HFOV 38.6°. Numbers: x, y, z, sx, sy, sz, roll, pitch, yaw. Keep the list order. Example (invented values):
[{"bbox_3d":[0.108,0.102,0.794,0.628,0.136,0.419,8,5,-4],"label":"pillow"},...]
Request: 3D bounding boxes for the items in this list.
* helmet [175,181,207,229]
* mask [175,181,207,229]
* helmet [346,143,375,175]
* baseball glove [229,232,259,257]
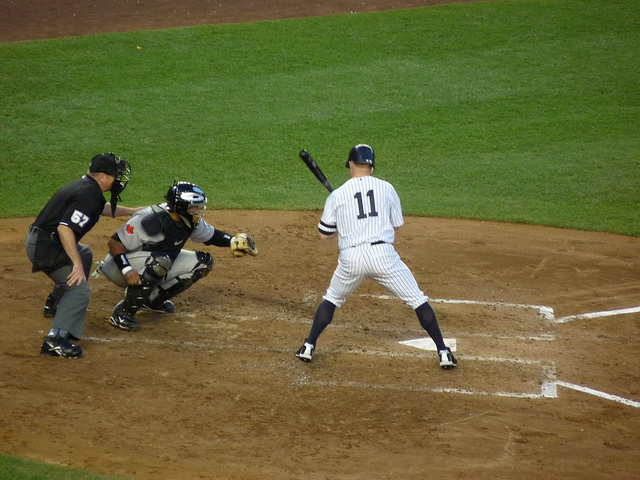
[{"bbox_3d":[-1.657,-0.427,11.654,0.513,0.458,0.419,20,10,18],"label":"helmet"},{"bbox_3d":[-1.647,-0.395,11.633,0.383,0.691,0.318,-5,25,-8],"label":"mask"},{"bbox_3d":[0.493,-1.036,11.458,0.331,0.335,0.373,-2,24,-2],"label":"helmet"},{"bbox_3d":[-1.022,0.080,12.033,0.278,0.165,0.364,-6,10,-34],"label":"baseball glove"}]
